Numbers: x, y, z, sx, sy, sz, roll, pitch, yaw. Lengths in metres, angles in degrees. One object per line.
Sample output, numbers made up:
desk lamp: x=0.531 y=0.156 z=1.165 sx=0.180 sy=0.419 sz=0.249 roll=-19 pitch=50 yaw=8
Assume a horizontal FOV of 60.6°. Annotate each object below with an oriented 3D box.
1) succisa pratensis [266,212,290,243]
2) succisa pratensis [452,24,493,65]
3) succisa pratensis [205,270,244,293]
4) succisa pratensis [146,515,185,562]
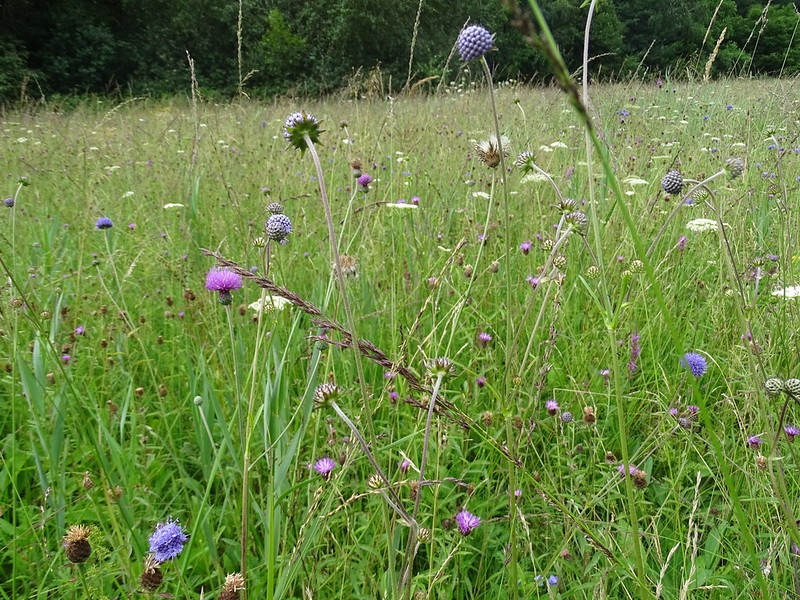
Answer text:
succisa pratensis: x=-0.593 y=-0.352 z=3.396 sx=0.097 sy=0.157 sz=0.133 roll=1 pitch=5 yaw=1
succisa pratensis: x=0.373 y=-1.277 z=3.431 sx=0.161 sy=0.210 sz=0.174 roll=-2 pitch=18 yaw=40
succisa pratensis: x=-0.905 y=-0.098 z=3.484 sx=0.137 sy=0.132 sz=0.145 roll=9 pitch=12 yaw=38
succisa pratensis: x=-1.054 y=1.086 z=3.152 sx=0.176 sy=0.218 sz=0.178 roll=-16 pitch=-5 yaw=-35
